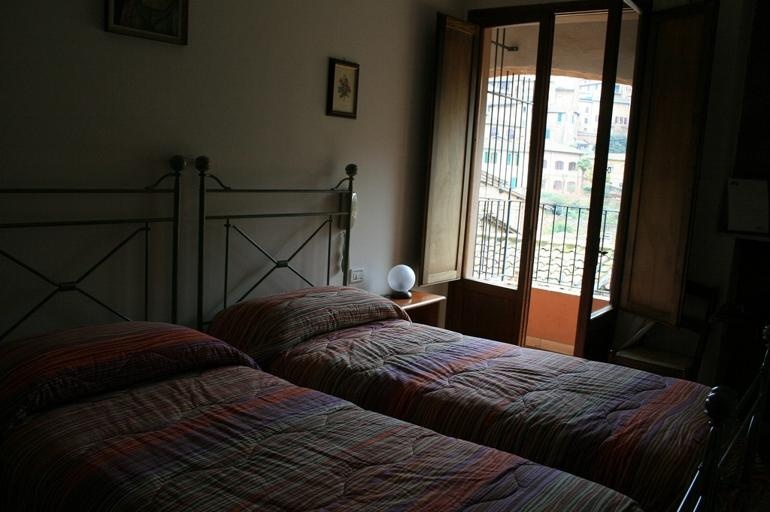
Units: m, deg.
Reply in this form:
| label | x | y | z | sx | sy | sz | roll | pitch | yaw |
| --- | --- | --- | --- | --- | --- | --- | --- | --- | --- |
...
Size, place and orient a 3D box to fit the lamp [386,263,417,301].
| label | x | y | z | sx | sy | sz | roll | pitch | yaw |
| --- | --- | --- | --- | --- | --- | --- | --- | --- | --- |
| lamp | 0.155 | 0.200 | 4.229 | 0.244 | 0.277 | 0.248 | -6 | 4 | 9 |
